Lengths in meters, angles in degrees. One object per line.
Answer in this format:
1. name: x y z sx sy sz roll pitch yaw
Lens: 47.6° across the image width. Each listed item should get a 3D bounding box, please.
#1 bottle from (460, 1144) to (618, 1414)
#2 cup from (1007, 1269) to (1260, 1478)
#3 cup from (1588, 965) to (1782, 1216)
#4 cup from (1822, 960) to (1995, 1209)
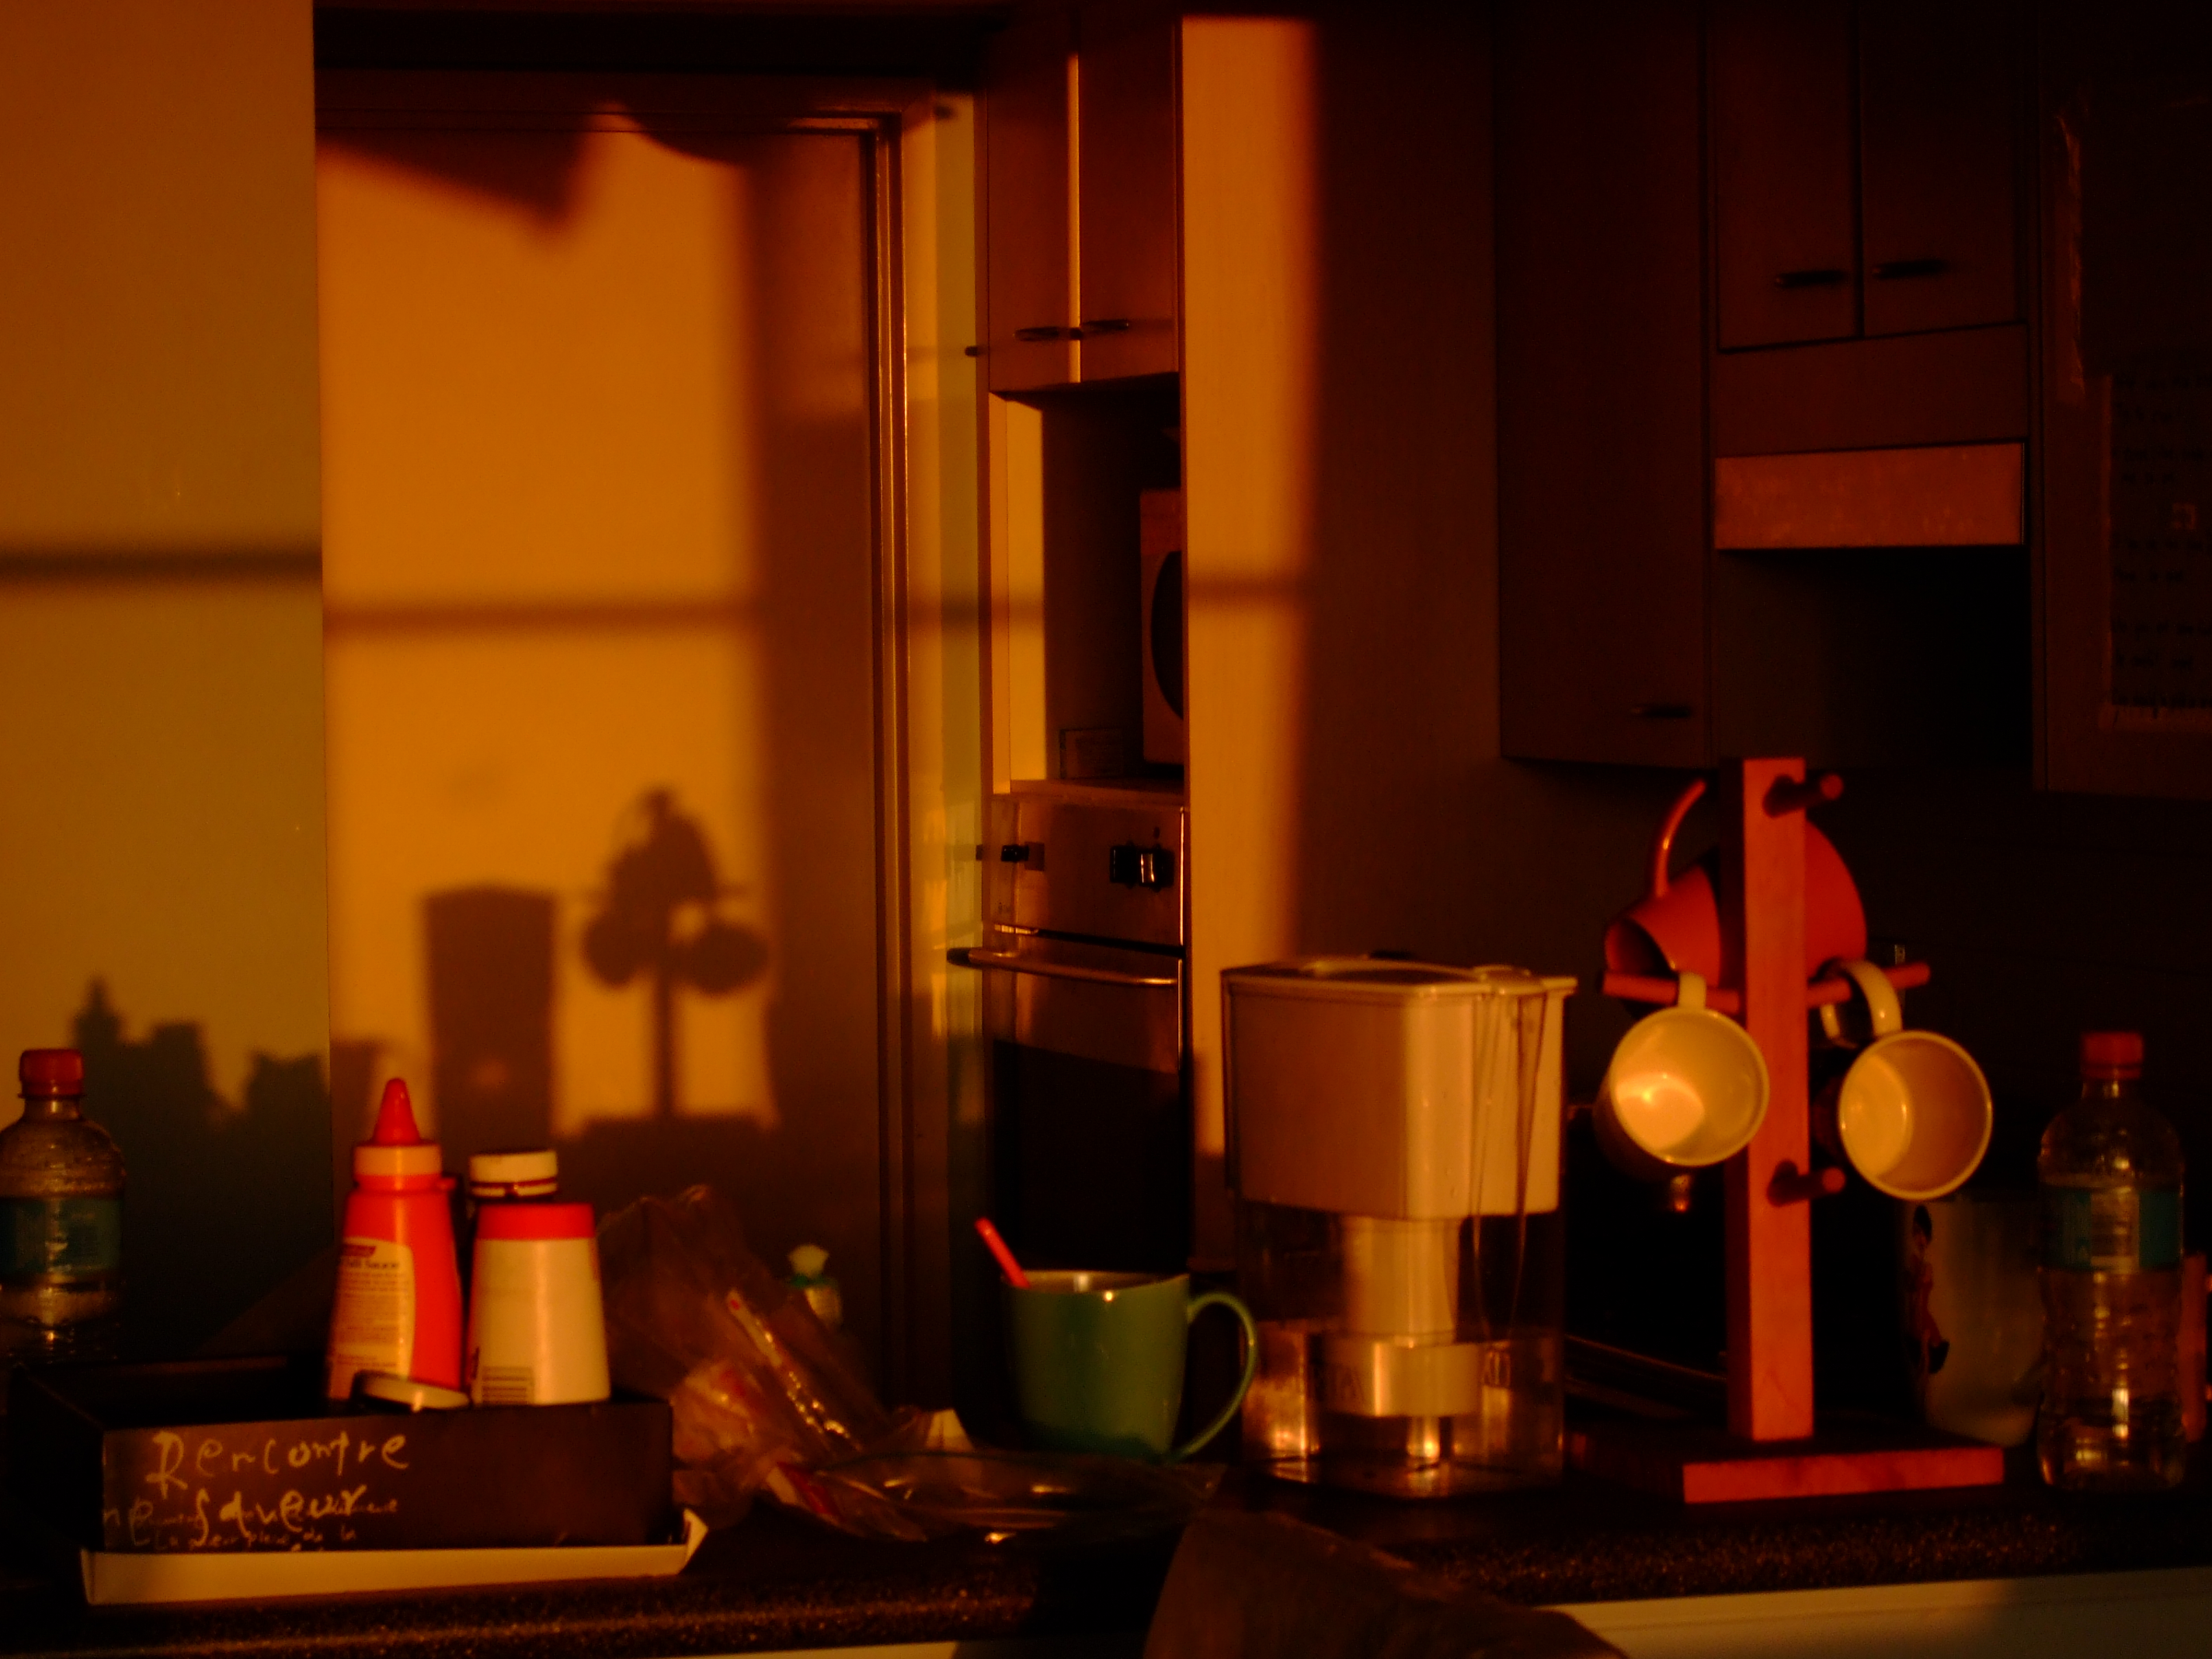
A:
1. bottle: -0.456 0.359 2.017 0.117 0.190 0.092 -1 -1 -5
2. cup: 0.009 0.465 2.151 0.210 0.165 0.138 2 -5 -20
3. cup: 0.501 0.222 2.164 0.128 0.174 0.130 7 5 -1
4. cup: 0.700 0.224 2.198 0.122 0.202 0.078 -15 0 11
